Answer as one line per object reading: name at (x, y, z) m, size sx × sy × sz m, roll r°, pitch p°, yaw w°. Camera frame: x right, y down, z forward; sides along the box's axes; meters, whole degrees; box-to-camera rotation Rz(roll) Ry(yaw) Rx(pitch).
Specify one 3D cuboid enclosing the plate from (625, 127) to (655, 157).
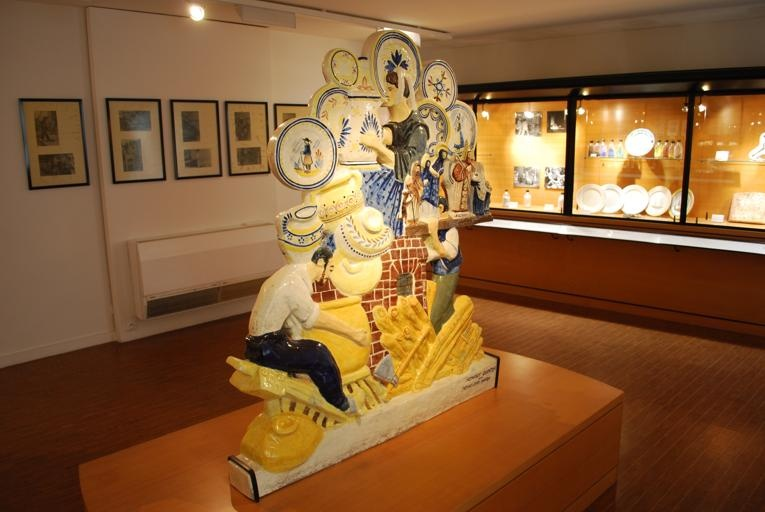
plate at (3.310, -1.454, 6.083) m, size 0.346 × 0.356 × 0.071 m, roll 11°, pitch 17°, yaw 41°

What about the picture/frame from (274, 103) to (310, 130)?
picture/frame at (-1.324, -2.003, 6.725) m, size 0.457 × 0.339 × 0.228 m, roll -4°, pitch 13°, yaw -13°

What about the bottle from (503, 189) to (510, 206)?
bottle at (1.882, -0.864, 7.161) m, size 0.113 × 0.219 × 0.075 m, roll 2°, pitch 13°, yaw 11°

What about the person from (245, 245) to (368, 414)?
person at (-0.491, 0.465, 3.030) m, size 0.753 × 1.067 × 0.607 m, roll 2°, pitch 5°, yaw -15°

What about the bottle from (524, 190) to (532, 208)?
bottle at (2.145, -0.844, 6.996) m, size 0.120 × 0.238 × 0.045 m, roll 8°, pitch 15°, yaw 33°

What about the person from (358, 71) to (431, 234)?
person at (0.099, -0.675, 3.386) m, size 0.492 × 1.199 × 0.489 m, roll -7°, pitch 34°, yaw -9°

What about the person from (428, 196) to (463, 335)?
person at (0.449, 0.143, 3.429) m, size 0.357 × 0.759 × 0.172 m, roll -11°, pitch 16°, yaw -37°

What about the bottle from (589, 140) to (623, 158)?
bottle at (2.993, -1.430, 6.287) m, size 0.637 × 0.214 × 0.179 m, roll 3°, pitch -4°, yaw 21°

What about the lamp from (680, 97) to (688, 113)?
lamp at (3.654, -1.826, 5.714) m, size 0.037 × 0.173 × 0.086 m, roll -10°, pitch 16°, yaw -36°

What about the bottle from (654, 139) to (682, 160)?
bottle at (3.591, -1.325, 5.927) m, size 0.366 × 0.261 × 0.202 m, roll 6°, pitch 12°, yaw 38°

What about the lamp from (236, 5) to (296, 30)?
lamp at (-1.381, -2.795, 5.543) m, size 0.490 × 0.117 × 0.253 m, roll -11°, pitch 23°, yaw -36°
